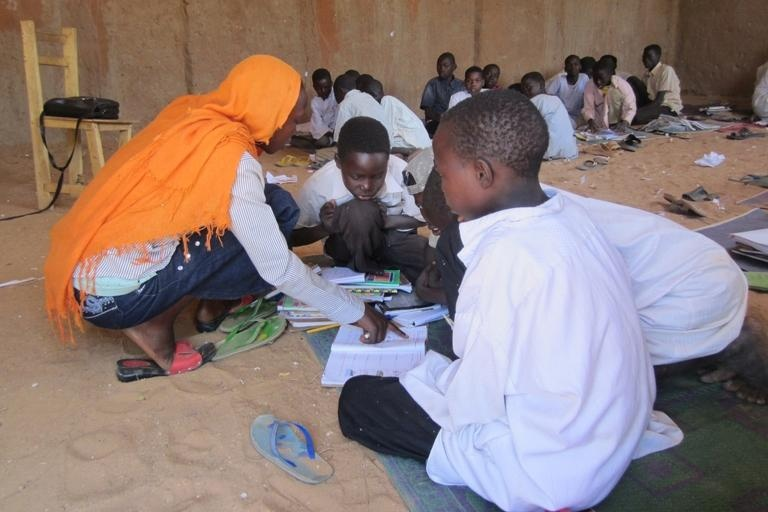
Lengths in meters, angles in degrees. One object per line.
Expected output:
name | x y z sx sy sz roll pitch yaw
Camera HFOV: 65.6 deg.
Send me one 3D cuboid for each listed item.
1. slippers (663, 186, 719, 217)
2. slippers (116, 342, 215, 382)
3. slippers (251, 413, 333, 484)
slippers | 2.533 -0.426 4.981 0.351 0.126 0.320 -10 23 -21
slippers | -1.132 0.531 3.070 0.386 0.095 0.201 -7 15 -21
slippers | -0.420 0.860 2.662 0.374 0.063 0.194 27 35 26
